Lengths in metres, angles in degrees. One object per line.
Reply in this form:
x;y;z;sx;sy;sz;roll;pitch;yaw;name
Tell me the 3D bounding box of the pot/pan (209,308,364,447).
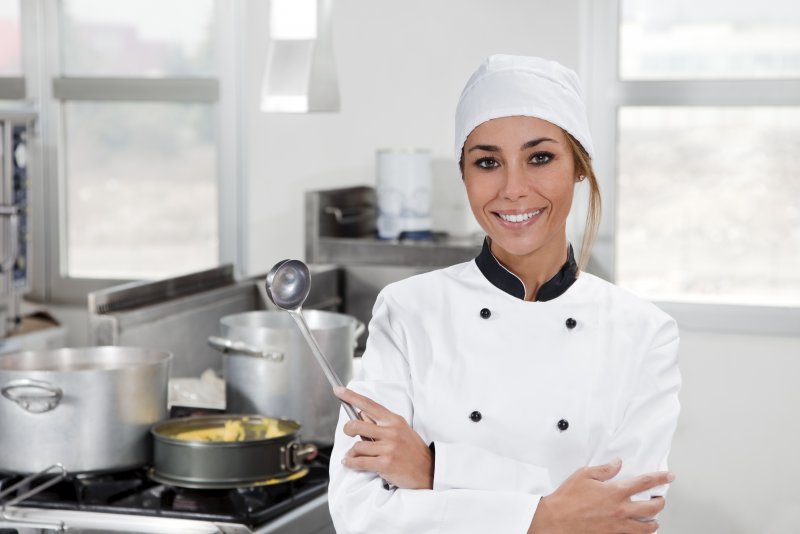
-0.282;0.282;2.110;0.397;0.262;0.284;2;3;-6;pot/pan
